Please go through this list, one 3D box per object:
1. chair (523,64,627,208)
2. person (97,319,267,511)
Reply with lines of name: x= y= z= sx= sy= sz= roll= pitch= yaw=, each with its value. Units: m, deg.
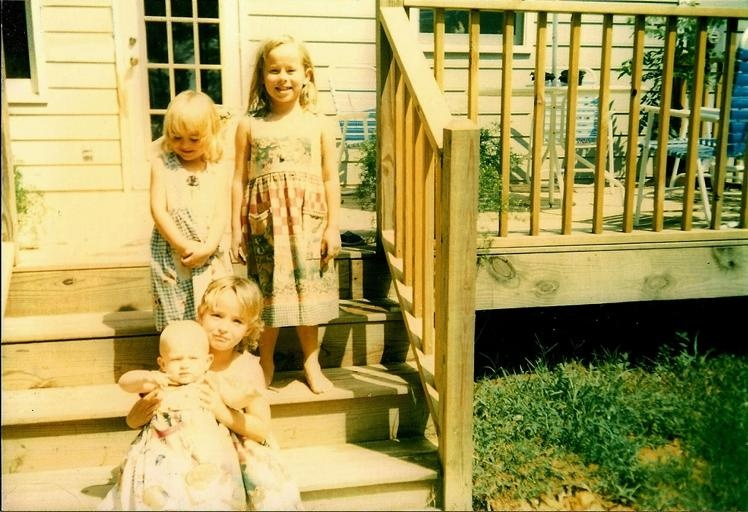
chair: x=1.817 y=-1.104 z=6.096 sx=0.735 sy=1.233 sz=2.382 roll=3 pitch=9 yaw=18
person: x=-0.857 y=0.696 z=3.594 sx=1.085 sy=1.172 sz=0.761 roll=0 pitch=-15 yaw=-9
